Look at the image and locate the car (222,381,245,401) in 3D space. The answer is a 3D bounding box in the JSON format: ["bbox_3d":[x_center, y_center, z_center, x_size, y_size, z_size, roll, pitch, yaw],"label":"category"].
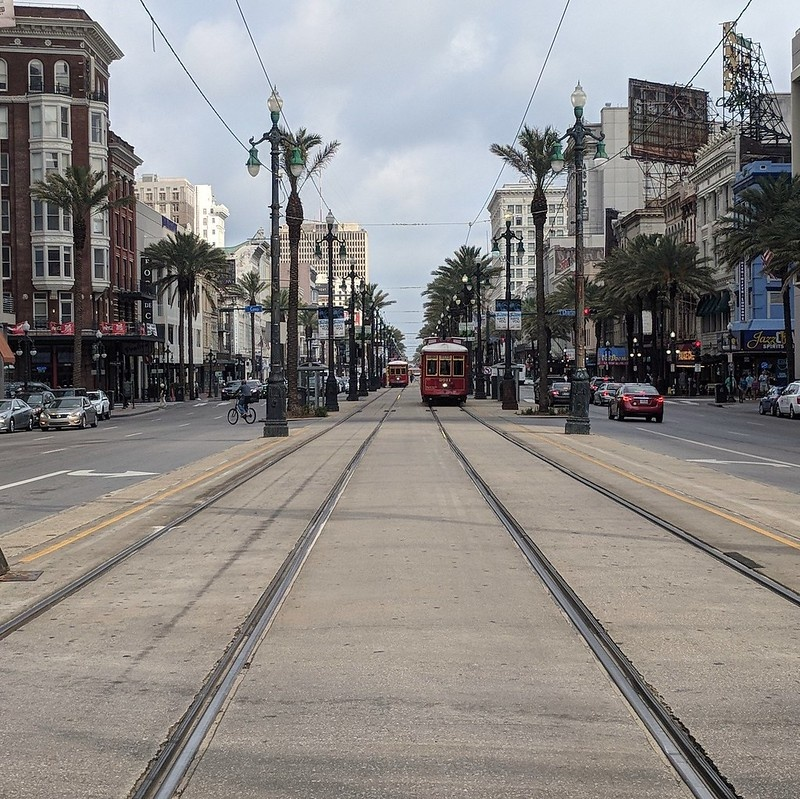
[{"bbox_3d":[-12.286,-0.519,72.565,1.225,1.590,2.778,0,-6,-7],"label":"car"}]

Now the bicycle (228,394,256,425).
[{"bbox_3d":[-6.591,0.500,41.595,1.647,1.488,0.931,3,-3,-20],"label":"bicycle"}]

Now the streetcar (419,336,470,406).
[{"bbox_3d":[2.411,-1.474,54.300,2.489,3.129,1.202,-2,2,-6],"label":"streetcar"}]

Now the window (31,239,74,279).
[{"bbox_3d":[-24.681,-9.782,69.896,2.509,3.912,0.326,0,-1,-2],"label":"window"}]

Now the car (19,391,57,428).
[{"bbox_3d":[-16.120,0.221,44.046,1.385,1.590,2.777,0,-4,-3],"label":"car"}]

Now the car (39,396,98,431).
[{"bbox_3d":[-13.806,0.614,40.950,1.746,0.975,2.335,-3,2,-3],"label":"car"}]

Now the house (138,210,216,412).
[{"bbox_3d":[-16.941,-6.577,77.595,5.325,13.152,5.407,1,-7,-37],"label":"house"}]

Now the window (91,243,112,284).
[{"bbox_3d":[-22.172,-9.906,73.115,0.169,2.700,2.440,-4,-6,30],"label":"window"}]

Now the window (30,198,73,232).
[{"bbox_3d":[-23.623,-12.370,66.677,2.671,3.536,1.131,0,2,-5],"label":"window"}]

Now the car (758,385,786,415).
[{"bbox_3d":[18.704,0.199,49.493,0.730,1.032,1.815,0,4,6],"label":"car"}]

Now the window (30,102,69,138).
[{"bbox_3d":[-24.874,-19.605,69.835,1.918,2.520,0.667,-1,-2,-21],"label":"window"}]
